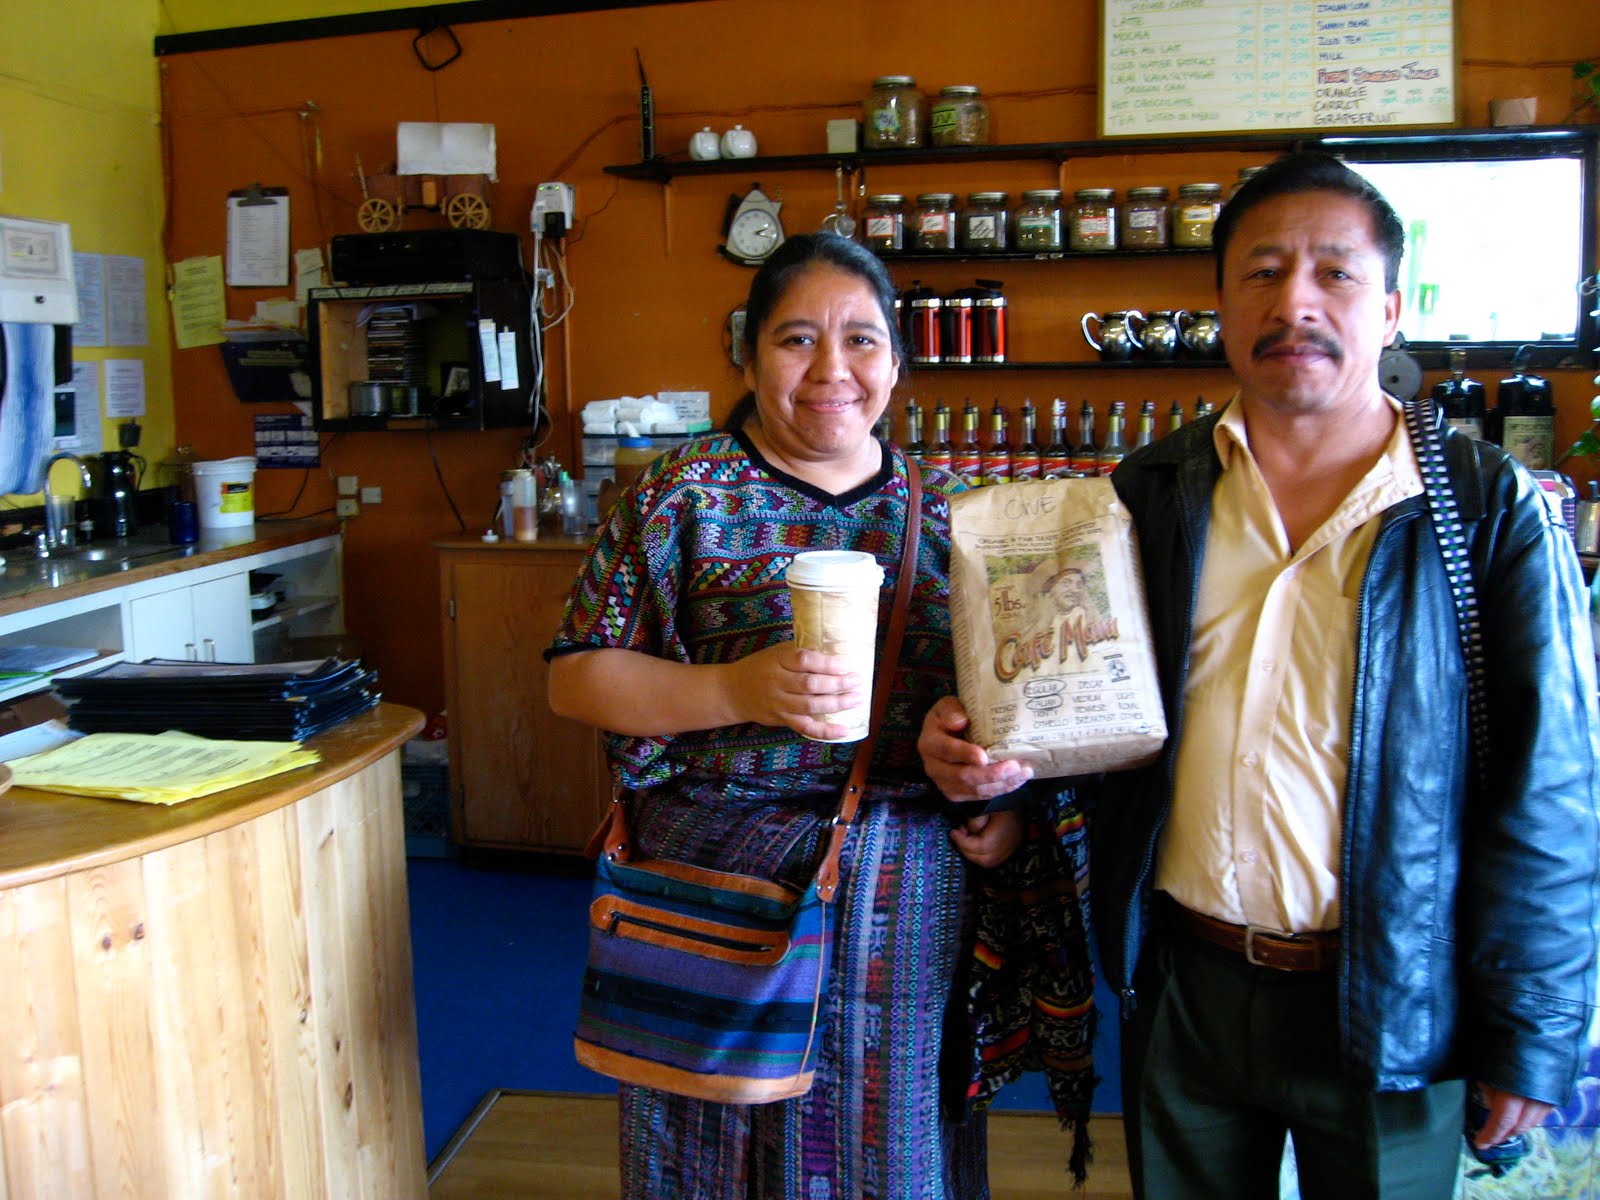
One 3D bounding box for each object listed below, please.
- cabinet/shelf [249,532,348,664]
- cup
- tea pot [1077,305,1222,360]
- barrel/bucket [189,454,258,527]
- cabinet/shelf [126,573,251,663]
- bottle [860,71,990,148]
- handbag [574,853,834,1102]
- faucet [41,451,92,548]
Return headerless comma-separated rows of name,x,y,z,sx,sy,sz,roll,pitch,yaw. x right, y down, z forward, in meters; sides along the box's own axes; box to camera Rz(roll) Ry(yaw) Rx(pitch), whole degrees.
cabinet/shelf,-1.898,0.006,4.989,0.265,0.477,0.554,0,8,9
cup,0.047,0.070,1.791,0.121,0.267,0.081,-2,9,-9
tea pot,1.140,-0.825,4.325,0.421,0.145,0.258,1,3,8
barrel/bucket,-2.058,-0.398,4.871,0.275,0.235,0.239,-1,-2,-3
cabinet/shelf,-1.937,0.056,4.179,0.129,0.269,0.318,0,2,20
bottle,0.403,-1.600,4.369,0.455,0.213,0.218,1,7,2
handbag,-0.120,0.532,1.870,0.380,0.310,0.143,6,-7,20
faucet,-2.523,-0.354,4.587,0.157,0.313,0.801,-5,9,-28
